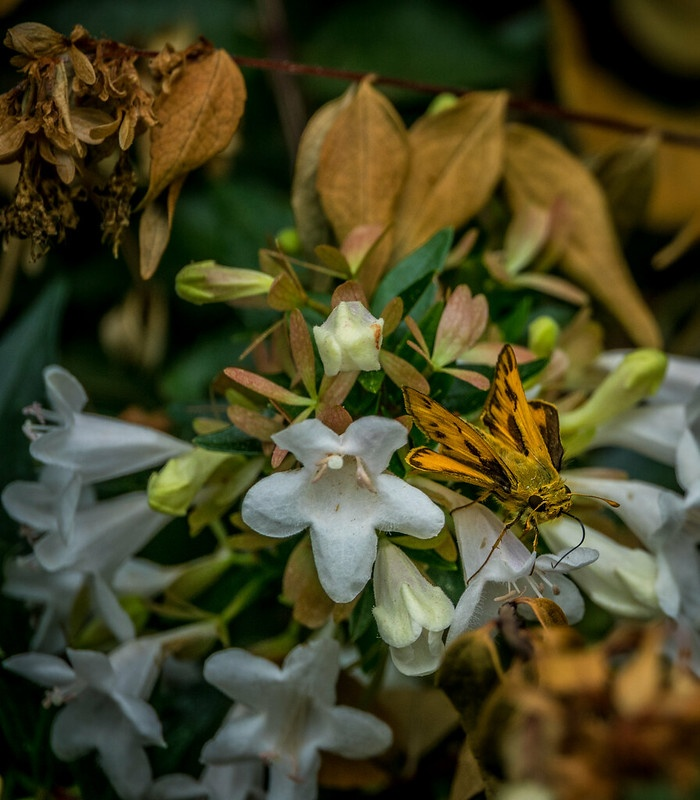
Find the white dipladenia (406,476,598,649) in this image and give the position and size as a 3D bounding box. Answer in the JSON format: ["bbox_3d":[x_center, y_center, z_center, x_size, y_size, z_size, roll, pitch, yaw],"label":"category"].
[{"bbox_3d":[0.117,0.124,0.754,0.143,0.126,0.059,22,100,-4],"label":"white dipladenia"}]

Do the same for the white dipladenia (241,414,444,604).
[{"bbox_3d":[0.002,0.065,0.731,0.169,0.066,0.136,9,105,1],"label":"white dipladenia"}]

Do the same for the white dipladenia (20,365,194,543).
[{"bbox_3d":[-0.227,0.045,0.826,0.179,0.073,0.129,7,31,-21],"label":"white dipladenia"}]

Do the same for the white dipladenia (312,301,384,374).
[{"bbox_3d":[0.000,-0.043,0.663,0.056,0.026,0.049,-2,87,3],"label":"white dipladenia"}]

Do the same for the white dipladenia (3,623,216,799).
[{"bbox_3d":[-0.193,0.270,0.795,0.168,0.115,0.135,-13,76,1],"label":"white dipladenia"}]

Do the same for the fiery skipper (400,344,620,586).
[{"bbox_3d":[0.117,0.035,0.688,0.178,0.107,0.144,33,32,0],"label":"fiery skipper"}]

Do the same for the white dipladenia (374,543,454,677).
[{"bbox_3d":[0.040,0.152,0.682,0.071,0.040,0.086,-17,76,-1],"label":"white dipladenia"}]
